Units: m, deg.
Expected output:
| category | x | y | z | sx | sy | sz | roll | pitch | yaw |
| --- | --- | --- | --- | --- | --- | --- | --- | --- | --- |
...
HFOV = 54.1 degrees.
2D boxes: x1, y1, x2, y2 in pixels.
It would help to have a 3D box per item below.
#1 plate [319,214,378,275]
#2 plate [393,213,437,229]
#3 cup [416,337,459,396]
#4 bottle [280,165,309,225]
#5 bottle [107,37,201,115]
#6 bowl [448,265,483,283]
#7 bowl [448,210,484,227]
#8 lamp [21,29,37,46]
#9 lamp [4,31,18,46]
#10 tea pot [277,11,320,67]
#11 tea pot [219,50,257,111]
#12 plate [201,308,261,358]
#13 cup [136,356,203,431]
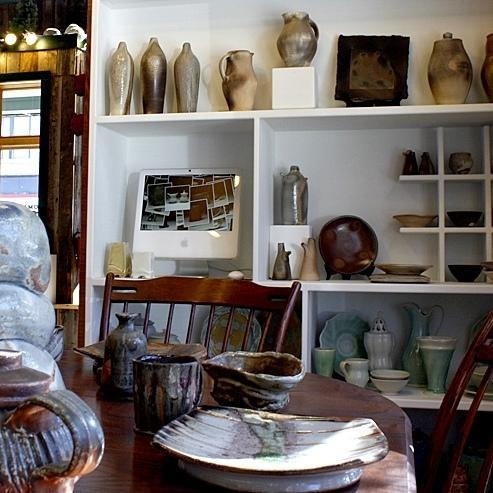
| category | x | y | z | sx | sy | sz | roll | pitch | yaw |
| --- | --- | --- | --- | --- | --- | --- | --- | --- | --- |
| plate | 0.504 | 0.002 | 2.384 | 0.291 | 0.311 | 0.143 | -4 | 3 | 8 |
| plate | 0.810 | -0.122 | 2.327 | 0.202 | 0.075 | 0.216 | -3 | 5 | 23 |
| cup | 0.821 | 0.512 | 2.080 | 0.183 | 0.281 | 0.201 | 1 | -6 | -5 |
| bottle | 0.234 | -0.245 | 2.339 | 0.134 | 0.285 | 0.105 | -4 | 3 | 4 |
| bottle | -0.455 | -0.842 | 2.408 | 0.417 | 0.380 | 0.131 | 1 | -1 | -10 |
| bowl | 1.021 | 0.119 | 2.243 | 0.144 | 0.086 | 0.139 | -5 | 4 | 0 |
| bowl | 1.037 | -0.130 | 2.281 | 0.162 | 0.089 | 0.208 | -3 | 5 | 24 |
| lamp | -1.952 | -1.882 | 4.354 | 0.087 | 0.118 | 0.200 | -7 | 5 | -37 |
| lamp | -2.139 | -1.898 | 4.392 | 0.131 | 0.112 | 0.085 | -1 | 5 | 43 |
| tea pot | 0.209 | -0.962 | 2.355 | 0.221 | 0.284 | 0.221 | 2 | 4 | 0 |
| tea pot | -0.037 | -0.788 | 2.295 | 0.162 | 0.287 | 0.102 | -4 | 3 | 2 |
| plate | -0.103 | 0.427 | 2.411 | 0.301 | 0.369 | 0.123 | -1 | 3 | 19 |
| cup | -0.109 | 0.201 | 0.704 | 0.080 | 0.092 | 0.104 | -1 | -5 | 42 |
